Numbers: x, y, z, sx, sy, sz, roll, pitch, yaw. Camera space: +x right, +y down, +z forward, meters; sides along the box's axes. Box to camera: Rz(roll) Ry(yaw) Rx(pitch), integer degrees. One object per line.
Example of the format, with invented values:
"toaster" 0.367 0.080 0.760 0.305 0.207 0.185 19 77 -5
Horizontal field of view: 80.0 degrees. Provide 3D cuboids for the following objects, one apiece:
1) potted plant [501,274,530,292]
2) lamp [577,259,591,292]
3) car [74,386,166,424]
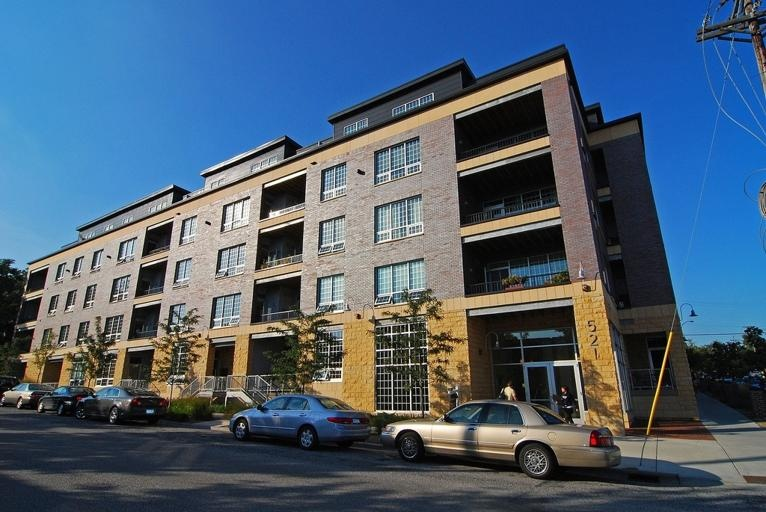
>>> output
"potted plant" 7.080 1.421 24.459 1.023 0.541 0.963 1 -14 -9
"lamp" 9.787 1.004 22.209 0.569 1.526 0.308 -8 -23 21
"car" -13.751 7.767 23.777 5.341 1.774 2.159 -11 -23 28
